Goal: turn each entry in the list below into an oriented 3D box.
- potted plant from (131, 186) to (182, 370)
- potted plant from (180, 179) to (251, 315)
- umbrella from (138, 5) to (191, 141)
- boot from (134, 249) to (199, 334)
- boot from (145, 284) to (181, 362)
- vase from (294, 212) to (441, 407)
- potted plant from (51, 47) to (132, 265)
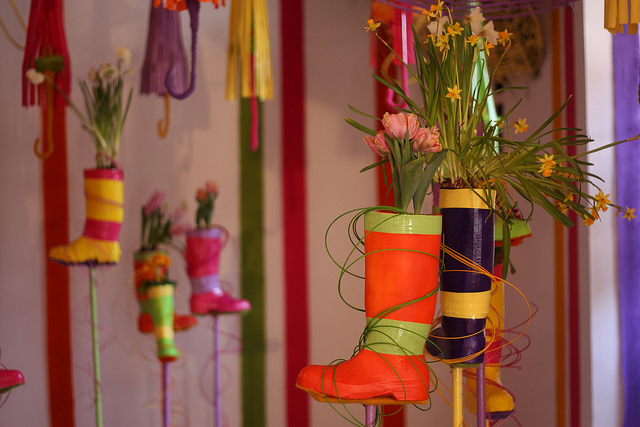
[{"bbox_3d":[-0.560,0.186,2.686,0.204,0.556,0.138,8,21,12],"label":"potted plant"},{"bbox_3d":[-0.393,0.116,2.726,0.195,0.469,0.292,-1,1,-29],"label":"potted plant"},{"bbox_3d":[-0.560,-0.583,2.695,0.160,0.302,0.100,-1,1,-16],"label":"umbrella"},{"bbox_3d":[-0.569,0.260,2.720,0.209,0.351,0.111,2,30,-2],"label":"boot"},{"bbox_3d":[-0.544,0.373,2.603,0.102,0.261,0.066,-1,1,-16],"label":"boot"},{"bbox_3d":[0.135,0.238,2.091,0.361,0.562,0.204,1,19,5],"label":"vase"},{"bbox_3d":[-0.821,-0.216,2.713,0.274,0.823,0.356,-1,1,-17],"label":"potted plant"}]
